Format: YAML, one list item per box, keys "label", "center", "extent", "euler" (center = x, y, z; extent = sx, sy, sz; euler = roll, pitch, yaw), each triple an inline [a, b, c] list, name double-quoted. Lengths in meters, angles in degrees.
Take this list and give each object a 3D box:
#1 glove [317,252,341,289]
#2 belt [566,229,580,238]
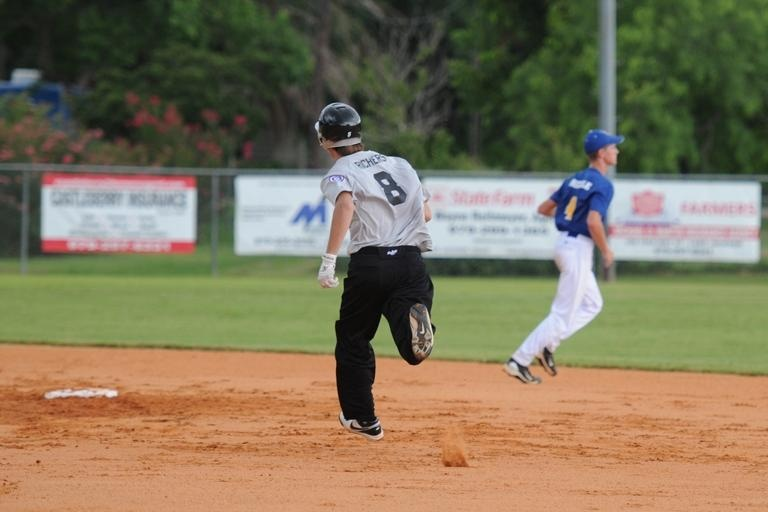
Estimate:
- label: "glove"
  center: [-0.900, 0.262, 27.575]
  extent: [0.234, 0.513, 0.438]
  euler: [9, -1, -4]
- label: "belt"
  center: [3.283, -0.377, 28.855]
  extent: [0.146, 0.146, 0.040]
  euler: [-1, -3, 19]
